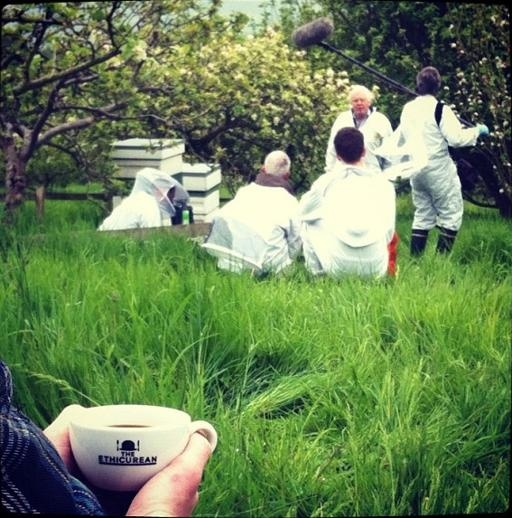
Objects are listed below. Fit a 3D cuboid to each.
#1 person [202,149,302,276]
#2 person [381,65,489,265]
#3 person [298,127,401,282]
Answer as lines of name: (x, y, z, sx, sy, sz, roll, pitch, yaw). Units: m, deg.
person: (0.036, -0.323, 5.074, 0.565, 1.065, 0.429, 9, -30, 9)
person: (1.530, -0.839, 5.861, 0.746, 1.637, 0.713, 4, 4, 11)
person: (0.648, -0.387, 4.677, 0.701, 1.060, 0.507, 4, 4, 11)
